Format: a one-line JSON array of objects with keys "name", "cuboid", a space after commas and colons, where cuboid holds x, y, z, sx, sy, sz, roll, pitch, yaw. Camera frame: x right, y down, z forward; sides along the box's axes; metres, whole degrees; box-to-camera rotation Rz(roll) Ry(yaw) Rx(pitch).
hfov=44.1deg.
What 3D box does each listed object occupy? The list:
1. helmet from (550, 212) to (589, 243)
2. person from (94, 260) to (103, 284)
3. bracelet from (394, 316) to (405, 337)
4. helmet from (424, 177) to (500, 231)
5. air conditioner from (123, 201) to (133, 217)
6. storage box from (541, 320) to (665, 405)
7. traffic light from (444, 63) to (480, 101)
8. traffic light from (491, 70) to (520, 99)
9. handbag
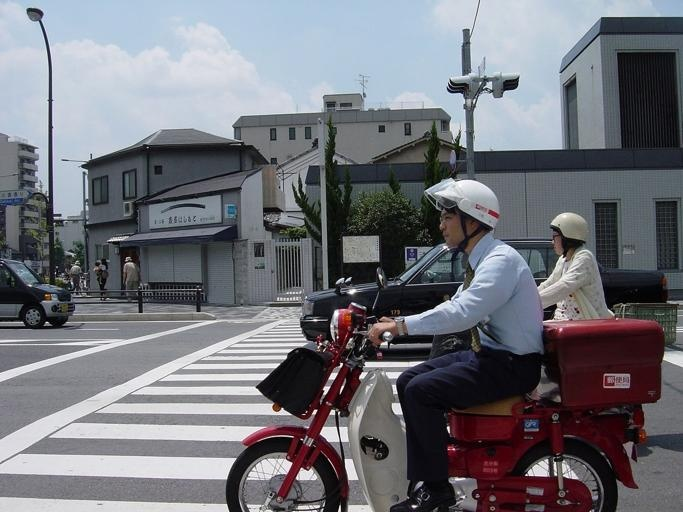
[{"name": "helmet", "cuboid": [2.494, -0.315, 9.294, 0.361, 0.341, 0.295, 5, 0, 20]}, {"name": "person", "cuboid": [-9.047, 0.603, 31.342, 0.193, 0.842, 1.177, -1, -2, -16]}, {"name": "bracelet", "cuboid": [0.511, 0.617, 7.473, 0.116, 0.155, 0.117, -2, -2, -2]}, {"name": "helmet", "cuboid": [1.130, -0.456, 7.828, 0.564, 0.373, 0.417, 4, -3, 2]}, {"name": "air conditioner", "cuboid": [-8.444, -1.858, 33.385, 0.482, 0.548, 0.383, -3, -10, 9]}, {"name": "storage box", "cuboid": [2.319, 0.935, 7.433, 0.730, 0.608, 0.790, -2, -2, -4]}, {"name": "traffic light", "cuboid": [2.563, -3.603, 17.744, 0.677, 0.552, 0.545, -2, -2, 7]}, {"name": "traffic light", "cuboid": [3.371, -3.526, 17.317, 0.558, 0.438, 0.695, -2, -2, -6]}, {"name": "handbag", "cuboid": [-0.394, 1.114, 7.841, 0.594, 0.703, 0.556, 36, -8, 4]}]
